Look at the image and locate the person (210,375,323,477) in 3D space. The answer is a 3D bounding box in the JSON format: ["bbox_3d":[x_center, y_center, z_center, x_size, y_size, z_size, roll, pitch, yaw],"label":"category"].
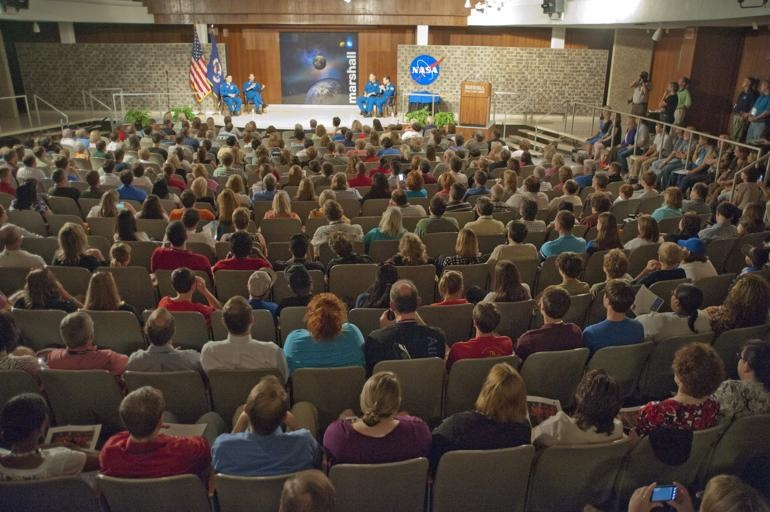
[{"bbox_3d":[-0.828,1.261,4.440,0.782,0.710,0.327,-6,17,-19],"label":"person"}]

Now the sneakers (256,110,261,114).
[{"bbox_3d":[-4.114,-4.702,20.406,0.113,0.135,0.154,-5,-27,-18],"label":"sneakers"}]

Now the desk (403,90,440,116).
[{"bbox_3d":[1.244,-5.056,20.471,0.948,0.619,0.972,1,26,4],"label":"desk"}]

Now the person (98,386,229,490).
[{"bbox_3d":[-1.629,1.349,4.614,0.466,0.861,0.489,4,36,-6],"label":"person"}]

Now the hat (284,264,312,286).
[{"bbox_3d":[-0.820,0.164,6.080,0.244,0.182,0.395,-7,6,-9],"label":"hat"}]

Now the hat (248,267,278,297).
[{"bbox_3d":[-1.214,0.249,6.189,0.226,0.173,0.373,19,12,1],"label":"hat"}]

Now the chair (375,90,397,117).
[{"bbox_3d":[0.080,-4.975,20.445,0.721,0.973,0.690,-12,23,-33],"label":"chair"}]
